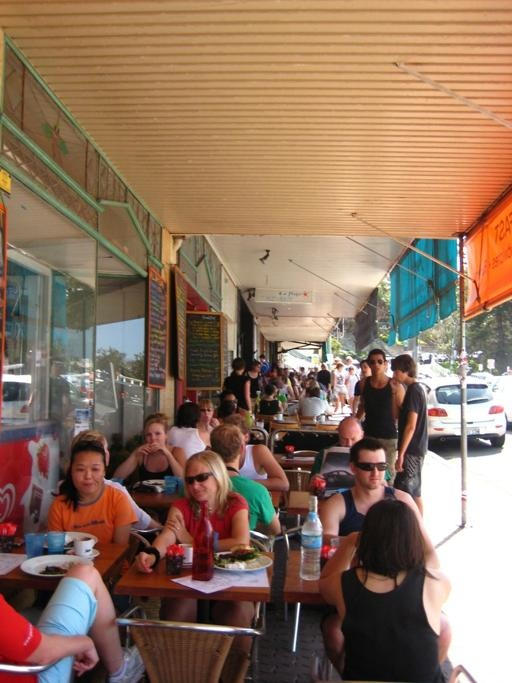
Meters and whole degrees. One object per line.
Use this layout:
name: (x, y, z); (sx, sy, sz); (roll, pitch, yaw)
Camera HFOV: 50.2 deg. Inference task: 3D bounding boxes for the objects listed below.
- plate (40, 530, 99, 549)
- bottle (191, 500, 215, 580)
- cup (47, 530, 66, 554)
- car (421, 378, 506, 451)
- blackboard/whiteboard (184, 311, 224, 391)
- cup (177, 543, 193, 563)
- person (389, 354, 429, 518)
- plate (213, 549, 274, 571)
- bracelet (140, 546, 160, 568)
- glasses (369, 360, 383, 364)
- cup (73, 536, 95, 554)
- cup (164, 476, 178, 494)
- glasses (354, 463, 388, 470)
plate: (-0.904, 0.955, 2.707); (0.177, 0.039, 0.174); (9, -2, -7)
bottle: (-0.213, 0.786, 2.179); (0.078, 0.282, 0.144); (1, -4, -7)
cup: (-0.907, 0.909, 2.471); (0.076, 0.101, 0.065); (1, -4, -9)
car: (4.158, 1.601, 11.161); (1.577, 1.284, 2.817); (-1, 3, 4)
blackboard/whiteboard: (-0.844, 0.138, 8.775); (0.308, 1.253, 0.903); (-3, -5, 37)
cup: (-0.289, 0.904, 2.332); (0.082, 0.076, 0.093); (2, -1, -1)
person: (1.552, 1.065, 5.685); (0.433, 1.816, 0.617); (0, -9, 28)
plate: (-0.054, 0.931, 2.360); (0.242, 0.064, 0.243); (1, -4, -4)
bracelet: (-0.458, 0.928, 2.378); (0.076, 0.073, 0.074); (11, -5, -17)
glasses: (1.287, 0.218, 5.854); (0.126, 0.057, 0.042); (0, -4, 4)
cup: (-0.771, 0.922, 2.456); (0.086, 0.074, 0.090); (0, -4, 0)
cup: (-0.612, 1.049, 4.048); (0.119, 0.124, 0.118); (5, 1, 0)
glasses: (0.586, 0.633, 2.779); (0.153, 0.048, 0.058); (1, -4, -6)
